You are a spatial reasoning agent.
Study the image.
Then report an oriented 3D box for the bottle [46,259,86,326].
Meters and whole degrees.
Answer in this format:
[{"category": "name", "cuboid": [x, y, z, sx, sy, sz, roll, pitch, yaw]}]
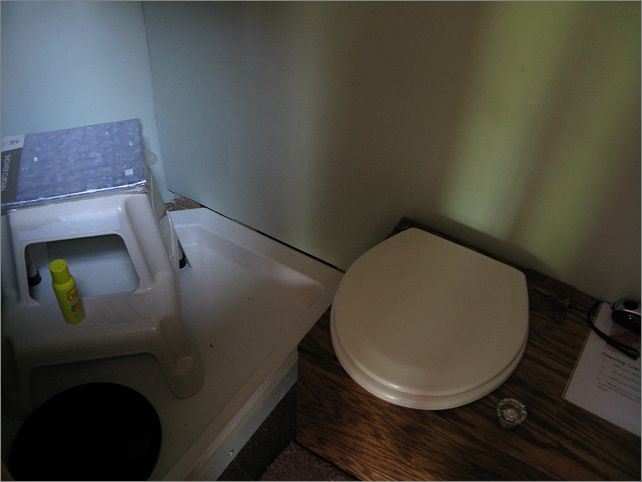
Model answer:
[{"category": "bottle", "cuboid": [-0.661, 0.119, 1.228, 0.056, 0.199, 0.109, -17, 37, -29]}]
